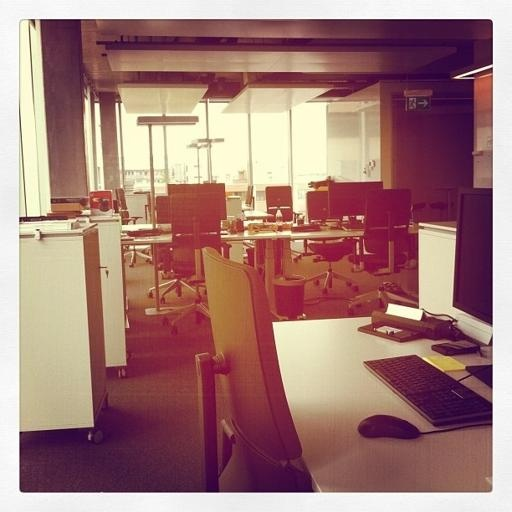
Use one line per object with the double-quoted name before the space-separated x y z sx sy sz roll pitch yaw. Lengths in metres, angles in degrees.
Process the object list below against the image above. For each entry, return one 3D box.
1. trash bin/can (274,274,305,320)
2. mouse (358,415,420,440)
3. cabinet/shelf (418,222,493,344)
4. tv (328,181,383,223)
"trash bin/can" 0.242 0.264 3.313 0.230 0.285 0.248 1 6 20
"mouse" 0.227 0.293 0.827 0.078 0.029 0.041 -3 13 18
"cabinet/shelf" 0.500 0.068 1.225 0.123 0.263 0.260 -3 8 -21
"tv" 0.782 -0.432 3.840 0.316 0.249 0.034 -1 9 2
